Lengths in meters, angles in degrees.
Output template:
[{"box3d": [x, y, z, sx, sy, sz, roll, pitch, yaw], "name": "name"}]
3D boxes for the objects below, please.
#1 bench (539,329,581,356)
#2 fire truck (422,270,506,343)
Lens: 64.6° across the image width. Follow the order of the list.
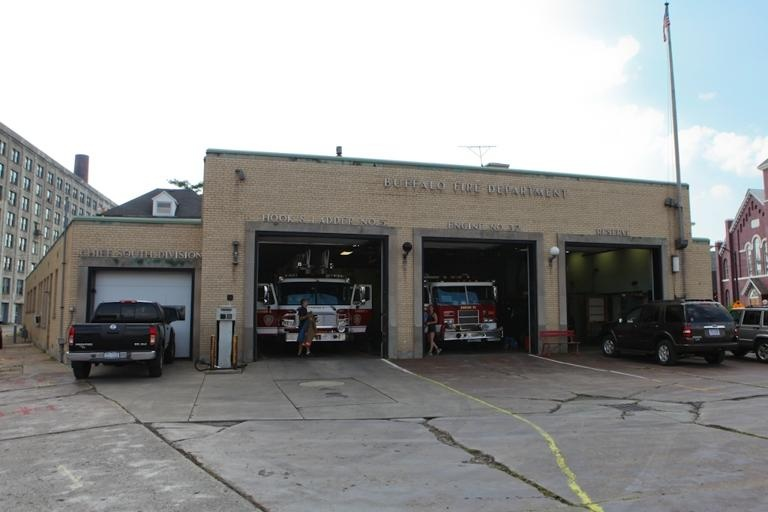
[{"box3d": [6.835, 3.421, 23.753, 1.249, 0.566, 0.466, 4, 3, -27], "name": "bench"}, {"box3d": [3.184, 2.090, 24.511, 2.742, 2.593, 0.920, 1, -10, -14], "name": "fire truck"}]
